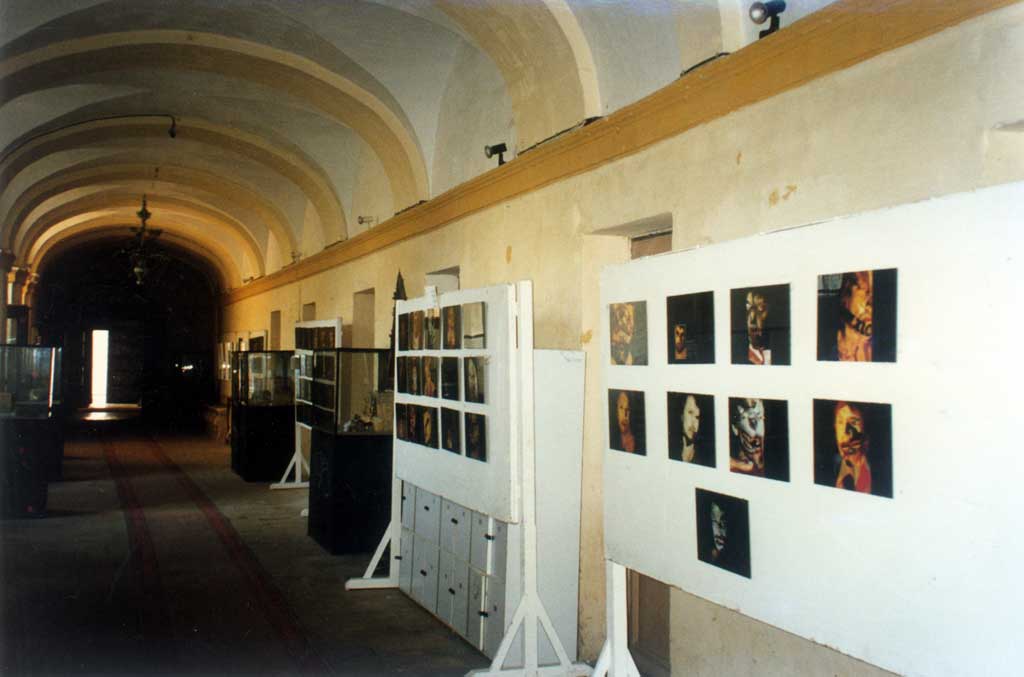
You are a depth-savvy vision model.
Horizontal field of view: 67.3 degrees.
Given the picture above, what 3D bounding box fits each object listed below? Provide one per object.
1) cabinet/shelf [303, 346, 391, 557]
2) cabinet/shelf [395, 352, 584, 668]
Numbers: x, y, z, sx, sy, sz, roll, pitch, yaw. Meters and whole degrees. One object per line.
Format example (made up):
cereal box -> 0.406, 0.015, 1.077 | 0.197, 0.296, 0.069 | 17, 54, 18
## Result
cabinet/shelf -> -2.073, 1.388, 9.718 | 1.175, 2.554, 0.784 | 3, -3, 9
cabinet/shelf -> -0.135, 1.452, 6.522 | 0.830, 2.697, 2.642 | 3, -1, -19
